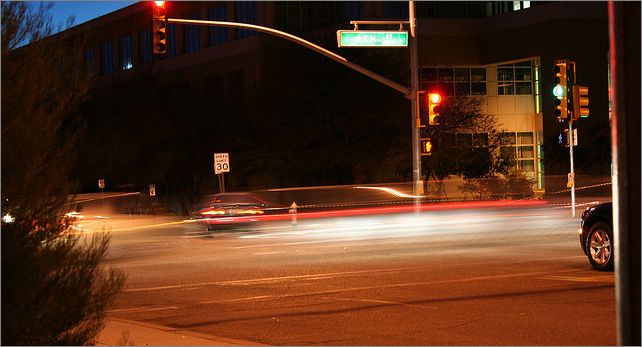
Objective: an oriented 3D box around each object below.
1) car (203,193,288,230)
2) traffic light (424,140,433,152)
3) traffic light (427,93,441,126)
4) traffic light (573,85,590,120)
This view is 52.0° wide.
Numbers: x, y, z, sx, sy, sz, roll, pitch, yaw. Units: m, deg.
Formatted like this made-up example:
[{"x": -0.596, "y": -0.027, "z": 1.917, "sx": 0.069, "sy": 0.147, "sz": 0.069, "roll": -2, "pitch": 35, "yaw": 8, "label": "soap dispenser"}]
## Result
[{"x": -3.472, "y": 1.622, "z": 28.936, "sx": 3.218, "sy": 1.086, "sz": 1.470, "roll": -4, "pitch": 6, "yaw": -33, "label": "car"}, {"x": 4.531, "y": -1.136, "z": 27.789, "sx": 0.392, "sy": 0.435, "sz": 0.429, "roll": 0, "pitch": 0, "yaw": 15, "label": "traffic light"}, {"x": 4.805, "y": -2.714, "z": 27.812, "sx": 0.497, "sy": 1.322, "sz": 1.675, "roll": -2, "pitch": 2, "yaw": 10, "label": "traffic light"}, {"x": 10.554, "y": -2.937, "z": 26.604, "sx": 0.569, "sy": 1.380, "sz": 2.298, "roll": -1, "pitch": 2, "yaw": 21, "label": "traffic light"}]
